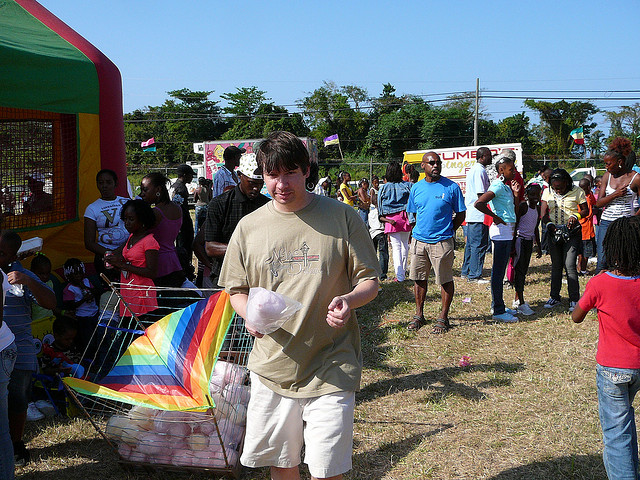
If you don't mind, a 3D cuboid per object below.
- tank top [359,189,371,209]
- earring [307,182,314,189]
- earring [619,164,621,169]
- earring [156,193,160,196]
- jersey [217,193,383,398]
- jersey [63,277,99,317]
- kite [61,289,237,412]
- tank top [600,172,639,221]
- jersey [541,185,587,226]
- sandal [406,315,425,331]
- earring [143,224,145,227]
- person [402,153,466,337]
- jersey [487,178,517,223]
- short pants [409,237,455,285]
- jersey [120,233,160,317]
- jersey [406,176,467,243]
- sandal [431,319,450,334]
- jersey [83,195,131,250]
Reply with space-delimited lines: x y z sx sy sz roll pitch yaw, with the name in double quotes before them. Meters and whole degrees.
"tank top" 1.039 -0.891 13.265 0.264 0.487 0.366 -7 15 -5
"earring" -0.075 -0.459 5.076 0.042 0.044 0.127 1 13 8
"earring" 4.774 -1.169 9.470 0.026 0.055 0.063 5 14 23
"earring" -1.946 -0.543 7.180 0.031 0.029 0.019 -2 13 -5
"jersey" -0.101 0.406 4.451 1.228 1.479 0.806 -1 17 9
"jersey" -2.822 0.702 7.098 0.435 0.440 0.245 -21 18 -41
"kite" -1.404 1.006 5.344 1.221 0.485 1.403 -4 12 8
"tank top" 4.825 -0.683 9.579 0.474 0.761 0.287 6 15 28
"jersey" 3.861 -0.565 9.515 0.653 0.658 0.368 7 25 33
"sandal" 1.392 1.193 8.581 0.106 0.169 0.362 9 16 36
"earring" -1.929 -0.152 6.538 0.011 0.033 0.025 3 14 14
"person" 1.618 0.061 8.356 0.761 2.492 0.678 2 14 13
"jersey" 2.718 -0.516 8.825 0.420 0.713 0.707 0 -9 33
"short pants" 1.557 0.204 8.380 0.586 0.794 0.419 7 26 27
"jersey" -1.918 0.416 6.395 0.396 0.939 0.480 3 -20 4
"jersey" 1.596 -0.427 8.384 0.851 0.896 0.505 4 14 31
"sandal" 1.730 1.232 8.497 0.122 0.140 0.351 -4 -8 31
"jersey" -2.552 -0.186 7.189 0.616 0.616 0.322 -5 1 -38
